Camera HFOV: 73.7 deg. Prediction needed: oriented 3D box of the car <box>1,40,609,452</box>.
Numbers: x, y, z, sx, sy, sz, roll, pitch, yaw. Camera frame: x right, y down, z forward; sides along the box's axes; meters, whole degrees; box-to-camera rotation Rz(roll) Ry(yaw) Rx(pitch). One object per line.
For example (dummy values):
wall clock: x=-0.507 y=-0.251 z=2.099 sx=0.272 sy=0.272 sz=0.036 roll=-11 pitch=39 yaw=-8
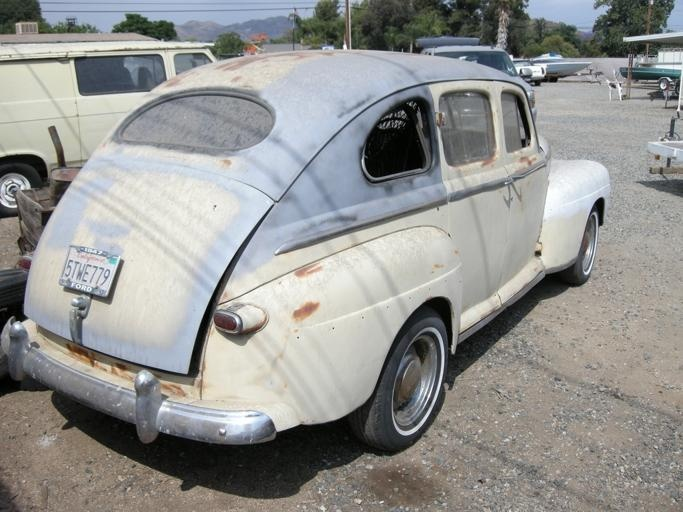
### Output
car: x=0.117 y=-0.370 z=3.265 sx=2.073 sy=1.859 sz=3.843 roll=14 pitch=34 yaw=39
